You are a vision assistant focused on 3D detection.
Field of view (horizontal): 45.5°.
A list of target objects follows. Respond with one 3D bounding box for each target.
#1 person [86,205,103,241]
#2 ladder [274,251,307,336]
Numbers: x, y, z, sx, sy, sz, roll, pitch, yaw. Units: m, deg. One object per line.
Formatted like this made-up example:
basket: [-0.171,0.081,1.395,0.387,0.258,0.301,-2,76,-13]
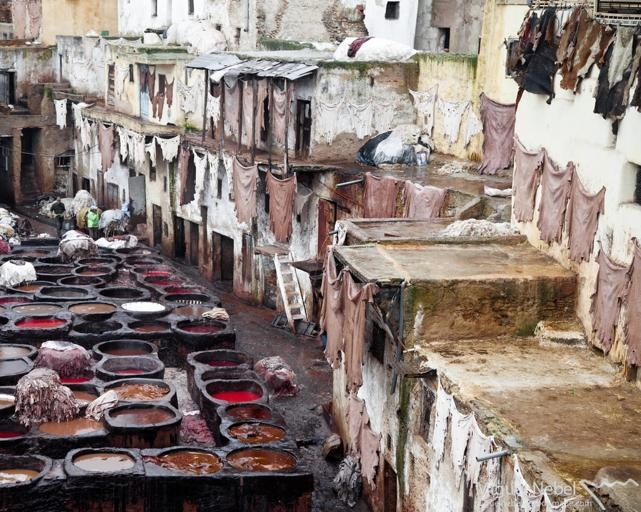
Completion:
person: [-9.396,-1.331,31.599,0.612,1.133,1.197,-2,14,-18]
ladder: [-0.889,1.100,23.371,0.889,2.118,1.182,-4,14,-26]
